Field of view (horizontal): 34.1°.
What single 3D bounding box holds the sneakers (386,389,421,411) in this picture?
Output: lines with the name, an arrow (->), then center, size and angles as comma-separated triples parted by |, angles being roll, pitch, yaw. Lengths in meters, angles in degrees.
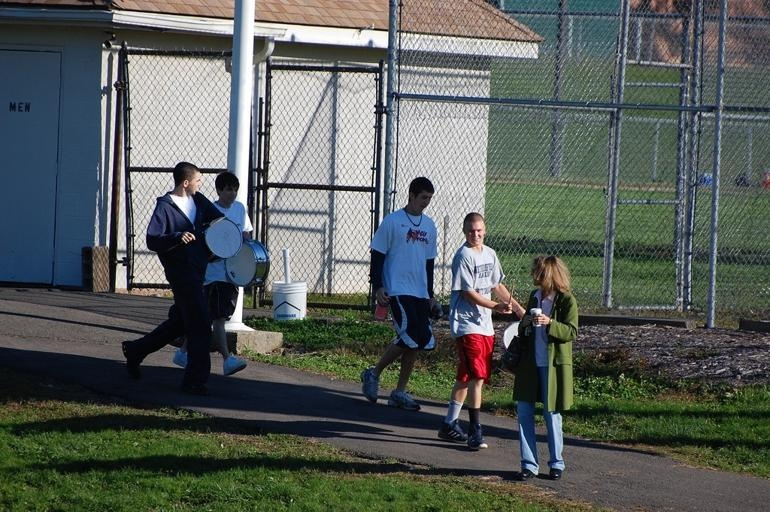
sneakers -> 0.269, 2.028, 17.508 | 0.417, 0.211, 0.231 | 13, 2, 15

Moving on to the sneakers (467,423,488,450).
sneakers -> 1.218, 2.356, 16.354 | 0.276, 0.323, 0.162 | 2, 1, -8

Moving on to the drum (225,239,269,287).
drum -> -1.983, 0.101, 17.822 | 0.570, 0.685, 0.351 | 0, 7, 24

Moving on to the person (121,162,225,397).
person -> -2.876, 0.278, 17.524 | 1.158, 3.195, 0.803 | 2, 1, 8

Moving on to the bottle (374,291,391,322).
bottle -> -0.033, 0.680, 17.146 | 0.166, 0.344, 0.258 | 2, 2, 4

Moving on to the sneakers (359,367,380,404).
sneakers -> -0.207, 1.786, 17.535 | 0.236, 0.530, 0.186 | -7, 7, 44

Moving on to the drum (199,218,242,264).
drum -> -2.294, -0.215, 17.632 | 0.489, 0.557, 0.524 | -17, 5, -12

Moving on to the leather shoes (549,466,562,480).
leather shoes -> 2.151, 2.708, 15.694 | 0.195, 0.151, 0.083 | 2, 2, -18

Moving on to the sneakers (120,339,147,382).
sneakers -> -3.576, 1.460, 17.854 | 0.249, 0.661, 0.230 | -4, 7, 3

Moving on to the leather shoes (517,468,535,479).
leather shoes -> 1.756, 2.716, 15.671 | 0.212, 0.099, 0.099 | 4, 12, -33

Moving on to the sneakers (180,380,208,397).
sneakers -> -2.626, 1.829, 17.305 | 0.347, 0.168, 0.170 | 3, 6, 2

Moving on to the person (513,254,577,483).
person -> 2.011, 1.390, 15.801 | 0.753, 2.789, 0.445 | 2, 1, 6

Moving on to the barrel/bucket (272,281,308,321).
barrel/bucket -> -1.604, 0.739, 20.907 | 0.550, 0.649, 0.577 | 1, 3, 0

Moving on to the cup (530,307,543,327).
cup -> 1.906, 0.767, 15.839 | 0.187, 0.251, 0.199 | -6, 4, 0
